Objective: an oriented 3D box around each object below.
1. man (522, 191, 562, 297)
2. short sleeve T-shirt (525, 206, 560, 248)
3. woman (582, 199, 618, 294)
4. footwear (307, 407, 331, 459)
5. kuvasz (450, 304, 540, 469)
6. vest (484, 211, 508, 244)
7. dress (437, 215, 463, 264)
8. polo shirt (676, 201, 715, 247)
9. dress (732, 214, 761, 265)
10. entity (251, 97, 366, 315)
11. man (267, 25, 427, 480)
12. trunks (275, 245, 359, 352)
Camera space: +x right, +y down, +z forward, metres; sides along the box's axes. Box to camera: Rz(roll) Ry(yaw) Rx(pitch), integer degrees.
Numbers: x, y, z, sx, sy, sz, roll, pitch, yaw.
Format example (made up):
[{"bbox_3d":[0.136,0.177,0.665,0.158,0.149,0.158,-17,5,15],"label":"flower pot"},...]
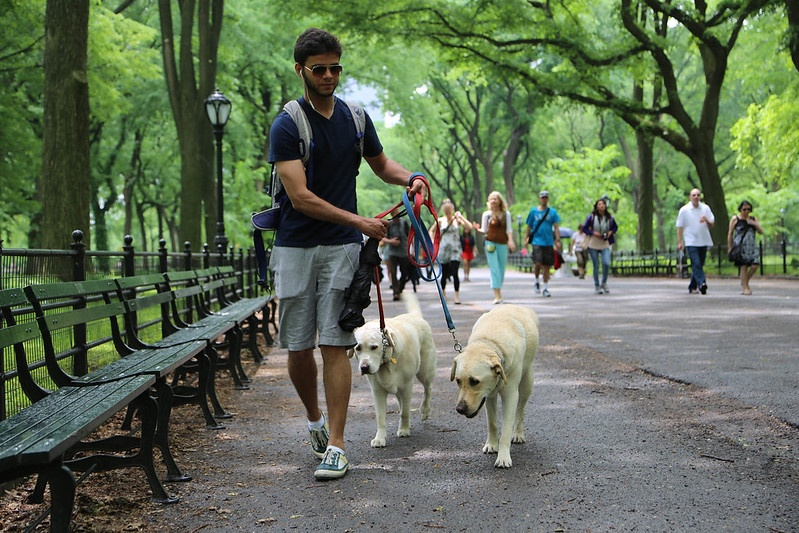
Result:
[{"bbox_3d":[3.443,-0.580,20.822,0.896,2.524,0.658,0,-4,6],"label":"man"},{"bbox_3d":[3.413,-0.994,20.766,0.781,0.967,0.500,-2,11,-1],"label":"short sleeve T-shirt"},{"bbox_3d":[4.895,-0.512,21.235,0.831,2.352,0.673,0,-4,4],"label":"woman"},{"bbox_3d":[-0.827,1.728,9.088,0.171,0.530,0.208,-9,-8,10],"label":"footwear"},{"bbox_3d":[0.996,1.216,9.068,0.646,1.504,1.295,2,4,24],"label":"kuvasz"},{"bbox_3d":[2.017,-0.801,18.242,0.592,0.830,0.471,5,-16,-1],"label":"vest"},{"bbox_3d":[1.111,-0.573,19.038,0.503,1.016,1.086,1,3,3],"label":"dress"},{"bbox_3d":[6.678,-0.953,19.678,0.766,0.975,0.647,2,4,18],"label":"polo shirt"},{"bbox_3d":[7.558,-0.556,19.078,0.563,1.054,0.396,2,4,21],"label":"dress"},{"bbox_3d":[-0.870,-0.358,8.901,1.200,2.391,0.967,-10,28,-18],"label":"entity"},{"bbox_3d":[-0.734,-0.194,8.905,1.207,4.494,0.998,0,3,-8],"label":"man"},{"bbox_3d":[-0.837,0.298,8.817,0.965,1.255,0.633,1,-6,-1],"label":"trunks"}]
